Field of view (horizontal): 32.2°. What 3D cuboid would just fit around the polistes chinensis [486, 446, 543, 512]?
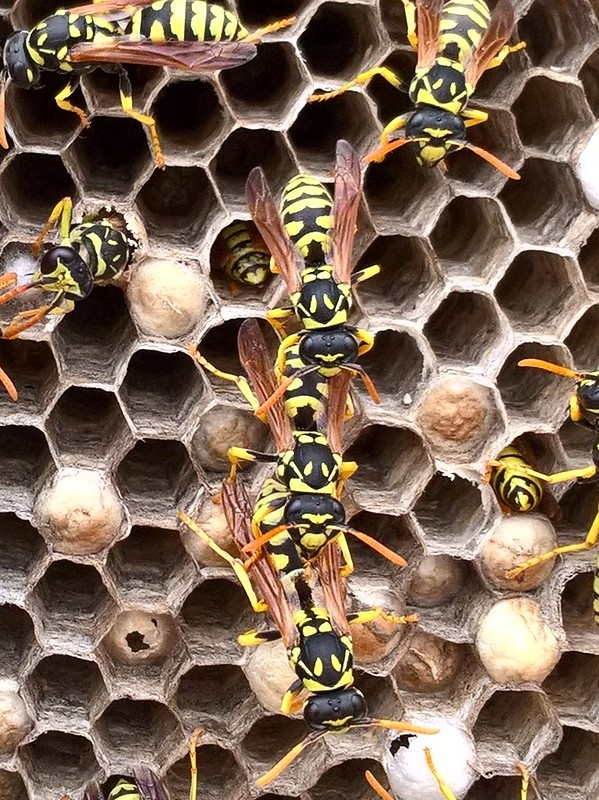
[{"bbox_3d":[0.713,0.247,3.481,0.195,0.156,0.319,3,25,-2],"label":"polistes chinensis"}]

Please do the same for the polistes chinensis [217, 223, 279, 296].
[{"bbox_3d":[-0.175,-0.431,3.486,0.194,0.103,0.246,-18,19,-7],"label":"polistes chinensis"}]
